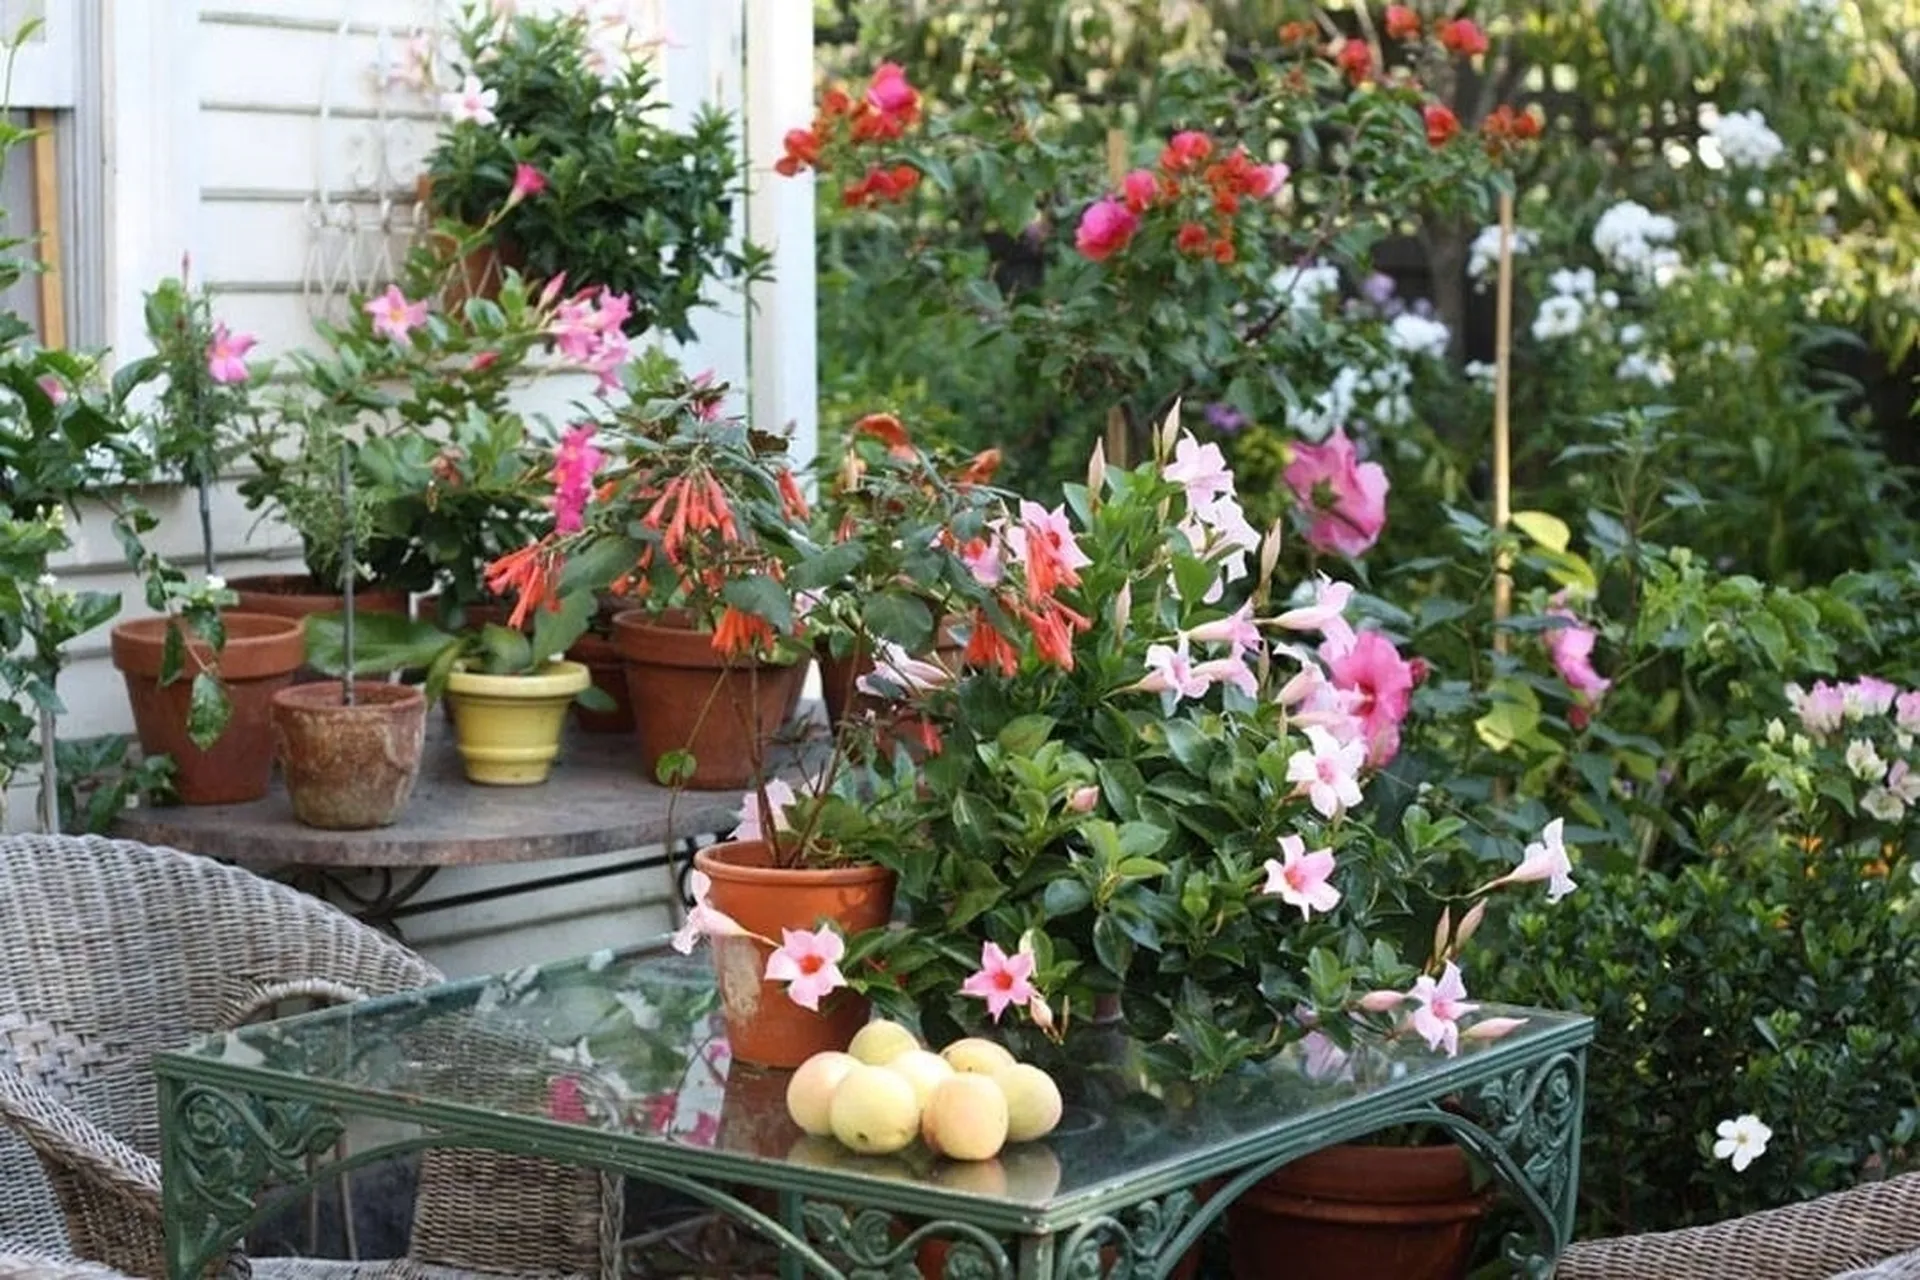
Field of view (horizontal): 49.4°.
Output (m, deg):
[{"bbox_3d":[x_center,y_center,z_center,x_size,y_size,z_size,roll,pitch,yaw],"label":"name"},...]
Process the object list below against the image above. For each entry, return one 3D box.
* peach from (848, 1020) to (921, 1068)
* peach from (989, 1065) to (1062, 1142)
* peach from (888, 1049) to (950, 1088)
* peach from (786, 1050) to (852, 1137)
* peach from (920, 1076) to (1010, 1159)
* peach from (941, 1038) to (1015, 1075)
[{"bbox_3d":[-0.091,0.491,2.572,0.054,0.058,0.064,-3,-31,-50],"label":"peach"},{"bbox_3d":[0.089,0.548,2.504,0.082,0.098,0.084,6,10,10],"label":"peach"},{"bbox_3d":[-0.044,0.509,2.476,0.040,0.026,0.043,4,0,19],"label":"peach"},{"bbox_3d":[-0.170,0.540,2.497,0.078,0.109,0.080,2,0,44],"label":"peach"},{"bbox_3d":[0.006,0.557,2.479,0.081,0.104,0.089,-7,3,-10],"label":"peach"},{"bbox_3d":[0.026,0.491,2.511,0.041,0.035,0.053,5,5,41],"label":"peach"}]
